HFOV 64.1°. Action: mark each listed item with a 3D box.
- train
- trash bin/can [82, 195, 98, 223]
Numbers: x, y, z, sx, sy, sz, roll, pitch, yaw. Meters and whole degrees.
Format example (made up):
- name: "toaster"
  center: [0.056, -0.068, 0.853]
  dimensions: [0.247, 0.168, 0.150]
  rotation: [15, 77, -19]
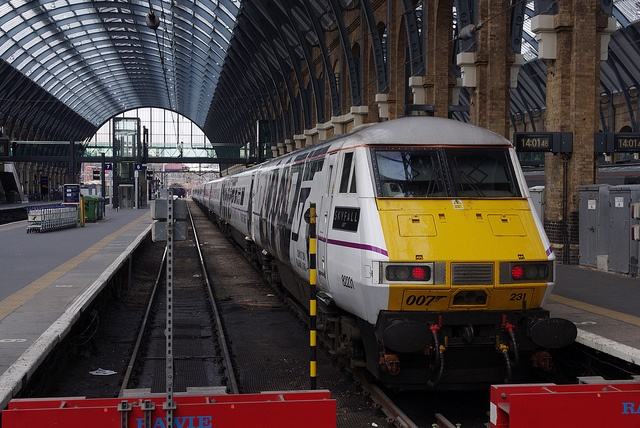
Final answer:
- name: "train"
  center: [0.575, 0.454, 9.339]
  dimensions: [2.645, 4.044, 6.705]
  rotation: [-4, 4, -24]
- name: "trash bin/can"
  center: [-16.087, -0.342, 35.756]
  dimensions: [0.877, 1.786, 0.970]
  rotation: [-4, 4, -24]
